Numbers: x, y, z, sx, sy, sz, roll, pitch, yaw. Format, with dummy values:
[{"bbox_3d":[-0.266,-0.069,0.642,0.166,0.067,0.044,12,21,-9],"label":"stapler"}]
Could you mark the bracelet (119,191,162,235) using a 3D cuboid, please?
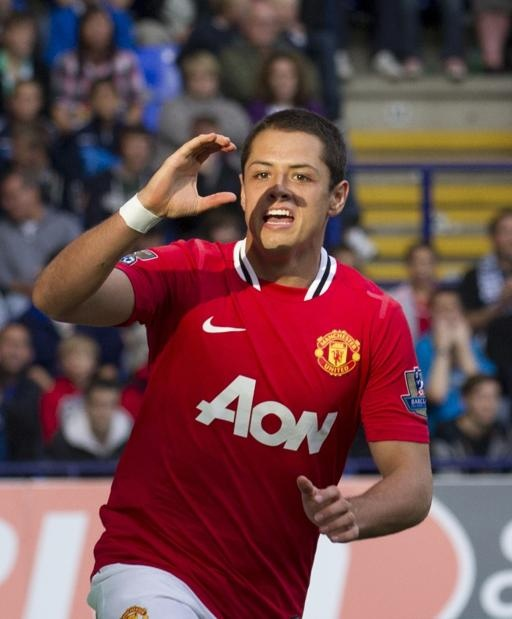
[{"bbox_3d":[-0.371,-0.303,3.120,0.138,0.107,0.124,41,20,-7],"label":"bracelet"}]
